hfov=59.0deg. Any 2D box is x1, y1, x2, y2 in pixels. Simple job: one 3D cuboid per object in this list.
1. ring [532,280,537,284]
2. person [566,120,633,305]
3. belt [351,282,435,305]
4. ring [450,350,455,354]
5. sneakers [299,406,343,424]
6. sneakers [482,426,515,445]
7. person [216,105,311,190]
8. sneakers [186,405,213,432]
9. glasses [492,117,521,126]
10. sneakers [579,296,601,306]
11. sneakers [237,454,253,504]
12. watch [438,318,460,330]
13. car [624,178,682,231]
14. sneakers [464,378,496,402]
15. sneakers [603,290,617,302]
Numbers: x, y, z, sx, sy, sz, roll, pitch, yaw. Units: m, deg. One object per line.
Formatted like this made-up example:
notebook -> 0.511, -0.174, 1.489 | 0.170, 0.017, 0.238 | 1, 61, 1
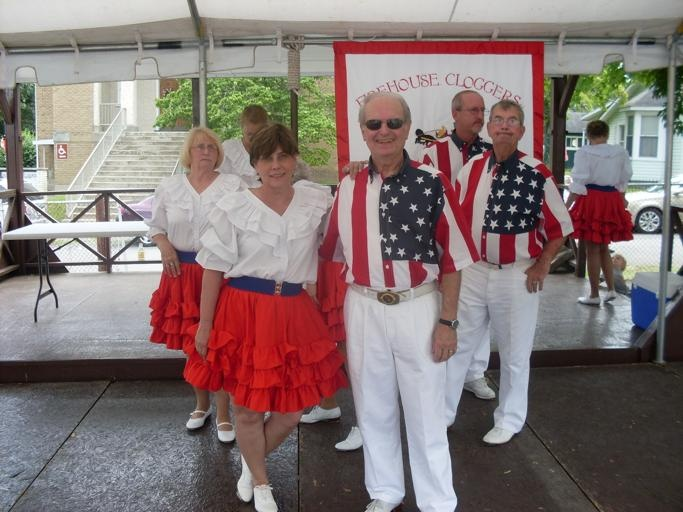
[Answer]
ring -> 1.169, 0.151, 3.640 | 0.031, 0.022, 0.011 | 2, 12, 17
person -> 2.640, -0.444, 6.161 | 0.673, 1.855, 0.470 | -1, 12, 1
belt -> 0.241, 0.174, 2.958 | 0.429, 0.097, 0.138 | 1, 12, 10
ring -> 0.534, 0.459, 2.905 | 0.015, 0.021, 0.006 | -6, 2, -10
sneakers -> -0.131, 1.058, 4.017 | 0.307, 0.137, 0.107 | 0, -5, -6
sneakers -> 0.966, 1.120, 3.767 | 0.167, 0.074, 0.086 | 7, -17, -40
person -> -0.578, -0.617, 4.363 | 0.577, 0.874, 0.356 | 8, 27, 18
sneakers -> -0.943, 1.070, 3.953 | 0.075, 0.067, 0.197 | -1, 2, 7
glasses -> 0.957, -0.779, 3.472 | 0.149, 0.059, 0.045 | -1, 12, 0
sneakers -> 2.552, 0.455, 6.225 | 0.092, 0.091, 0.218 | -5, 9, -42
sneakers -> -0.536, 1.242, 3.333 | 0.086, 0.109, 0.268 | 4, 11, -17
watch -> 0.526, 0.319, 2.933 | 0.106, 0.059, 0.075 | -3, 12, -6
car -> 6.322, -1.022, 12.177 | 1.001, 1.094, 1.620 | 5, 14, 25
sneakers -> 1.005, 0.963, 4.370 | 0.222, 0.098, 0.104 | 3, 0, 43
sneakers -> 2.800, 0.410, 6.319 | 0.085, 0.096, 0.218 | -12, 1, 4
